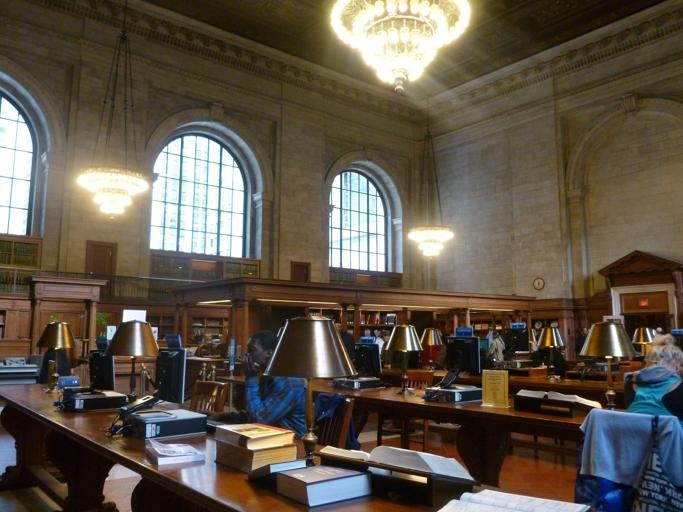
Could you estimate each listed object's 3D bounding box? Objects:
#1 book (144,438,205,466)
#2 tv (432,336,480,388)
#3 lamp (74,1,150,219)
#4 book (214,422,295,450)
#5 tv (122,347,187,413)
[{"bbox_3d":[-0.894,1.031,2.897,0.275,0.073,0.370,4,-8,-25],"label":"book"},{"bbox_3d":[1.314,1.124,5.922,0.563,0.596,0.602,6,-11,-33],"label":"tv"},{"bbox_3d":[-5.136,-3.449,12.422,1.605,5.091,1.952,3,-7,-20],"label":"lamp"},{"bbox_3d":[-0.461,0.928,2.794,0.241,0.055,0.244,8,-10,-42],"label":"book"},{"bbox_3d":[-1.332,0.884,3.829,0.428,0.523,0.372,6,-12,-33],"label":"tv"}]
